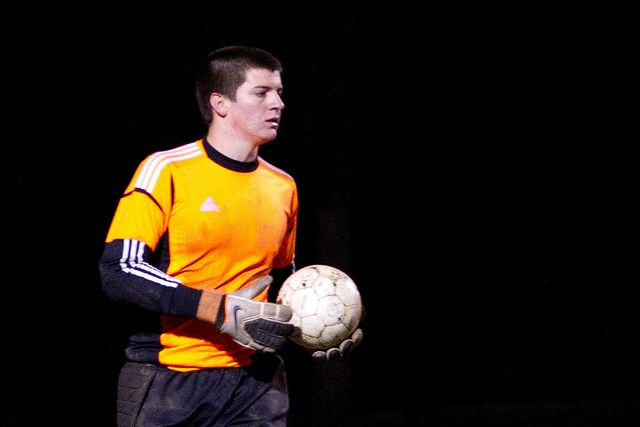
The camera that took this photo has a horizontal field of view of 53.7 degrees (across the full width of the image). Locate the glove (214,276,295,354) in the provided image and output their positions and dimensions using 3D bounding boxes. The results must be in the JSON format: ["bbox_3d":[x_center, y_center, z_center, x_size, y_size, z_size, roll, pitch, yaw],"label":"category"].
[{"bbox_3d":[-0.287,0.460,2.627,0.326,0.229,0.146,15,-5,0],"label":"glove"}]

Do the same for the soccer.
[{"bbox_3d":[-0.036,0.394,2.960,0.342,0.372,0.339,18,30,32],"label":"soccer"}]
